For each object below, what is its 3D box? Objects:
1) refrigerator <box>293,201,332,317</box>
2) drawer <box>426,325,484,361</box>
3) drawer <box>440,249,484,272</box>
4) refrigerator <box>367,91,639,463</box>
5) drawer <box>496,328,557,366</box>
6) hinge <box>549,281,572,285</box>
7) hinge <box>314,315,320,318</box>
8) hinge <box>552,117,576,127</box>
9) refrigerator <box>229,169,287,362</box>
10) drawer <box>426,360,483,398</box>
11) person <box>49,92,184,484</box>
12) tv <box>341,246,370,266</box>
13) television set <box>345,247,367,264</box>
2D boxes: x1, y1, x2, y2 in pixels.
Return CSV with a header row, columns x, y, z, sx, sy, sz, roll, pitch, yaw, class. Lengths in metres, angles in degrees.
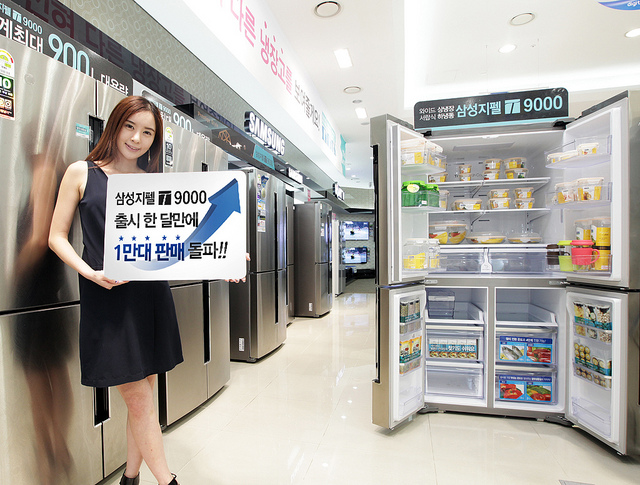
x,y,z,sx,sy,sz,roll,pitch,yaw,class
-0.051,0.268,7.204,0.430,1.873,0.737,6,10,41,refrigerator
1.229,0.866,3.798,0.511,0.312,0.301,-10,-23,43,drawer
1.249,0.148,3.771,0.301,0.191,0.208,0,-8,11,drawer
1.354,0.154,3.529,1.729,2.483,1.412,0,8,1,refrigerator
1.737,0.834,3.728,0.543,0.290,0.342,2,-4,14,drawer
1.893,0.314,3.448,0.152,0.026,0.034,0,8,4,hinge
-0.053,1.196,7.158,0.084,0.035,0.026,-15,0,22,hinge
1.939,-0.955,3.454,0.105,0.028,0.090,1,-4,-1,hinge
-0.849,0.302,5.330,0.707,2.013,1.160,-1,-1,12,refrigerator
1.238,1.208,4.146,0.548,0.351,0.744,0,-2,15,drawer
-1.138,0.389,2.479,0.645,2.381,0.552,-1,8,-5,person
1.266,0.462,15.587,0.295,0.718,1.623,6,10,39,tv
1.279,0.446,15.588,0.225,0.656,1.180,7,10,43,television set
